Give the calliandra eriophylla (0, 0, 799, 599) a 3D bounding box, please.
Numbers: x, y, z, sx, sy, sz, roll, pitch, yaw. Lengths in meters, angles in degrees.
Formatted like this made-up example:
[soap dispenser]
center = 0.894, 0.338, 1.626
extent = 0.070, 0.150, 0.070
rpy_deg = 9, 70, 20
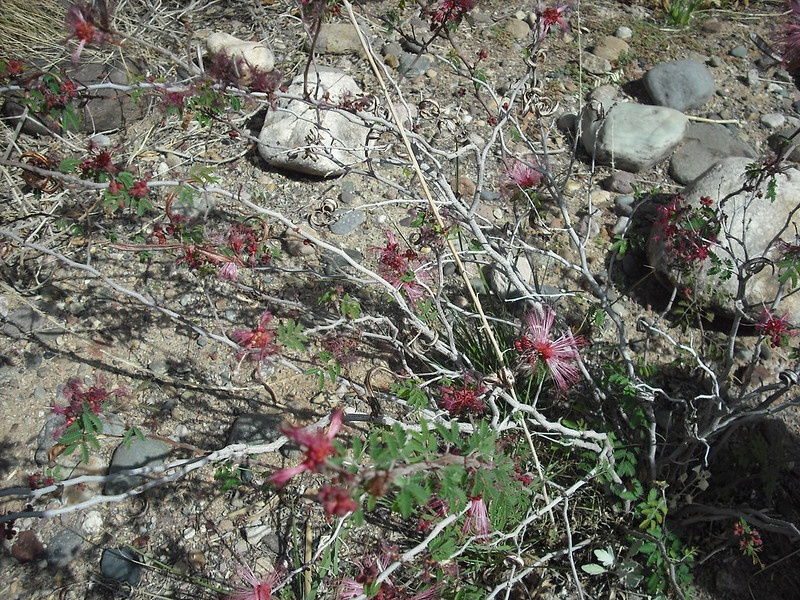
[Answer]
[calliandra eriophylla]
center = 0.490, -0.225, 6.173
extent = 3.969, 1.622, 4.813
rpy_deg = 2, 70, -5
